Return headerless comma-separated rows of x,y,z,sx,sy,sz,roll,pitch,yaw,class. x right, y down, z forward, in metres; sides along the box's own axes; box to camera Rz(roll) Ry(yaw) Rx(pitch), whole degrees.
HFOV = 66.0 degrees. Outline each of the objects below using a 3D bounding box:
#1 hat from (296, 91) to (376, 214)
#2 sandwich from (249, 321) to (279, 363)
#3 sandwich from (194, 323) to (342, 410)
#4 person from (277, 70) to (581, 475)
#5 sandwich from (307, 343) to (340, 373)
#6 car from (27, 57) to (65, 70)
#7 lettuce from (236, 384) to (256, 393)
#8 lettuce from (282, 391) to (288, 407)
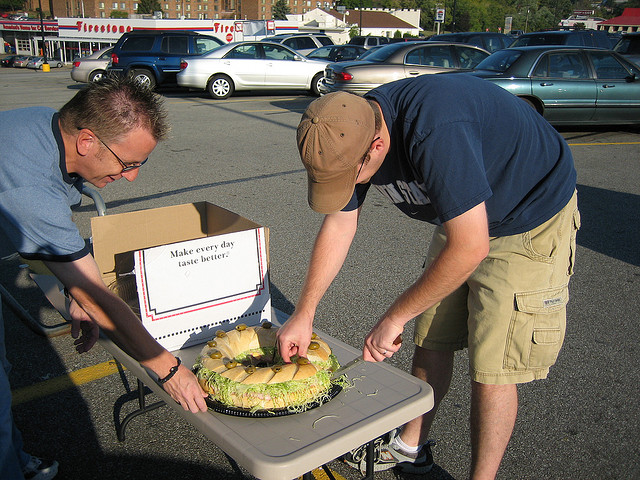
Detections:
0.072,-0.338,1.945,0.288,0.451,0.255,10,10,25,hat
-0.264,0.471,2.241,0.138,0.062,0.160,-2,59,-8,sandwich
-0.239,0.538,2.100,0.598,0.167,0.468,7,26,16,sandwich
0.543,0.349,2.309,1.342,2.108,0.730,-2,25,-3,person
-0.003,0.493,2.144,0.107,0.057,0.140,-21,22,-36,sandwich
-18.721,-11.842,33.319,1.417,0.788,3.669,-4,25,-7,car
-0.296,0.575,1.906,0.070,0.020,0.026,1,25,5,lettuce
-0.136,0.610,1.901,0.030,0.015,0.042,-3,63,0,lettuce
